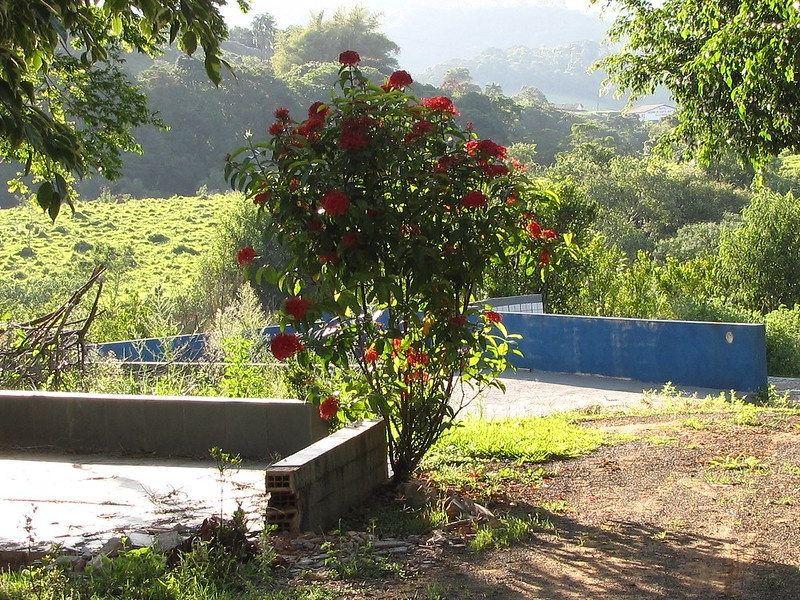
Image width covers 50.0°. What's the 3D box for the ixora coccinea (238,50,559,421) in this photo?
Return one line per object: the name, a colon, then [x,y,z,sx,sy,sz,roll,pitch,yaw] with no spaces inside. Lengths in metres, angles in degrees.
ixora coccinea: [-0.062,-0.507,6.975,2.282,3.019,1.021,0,9,9]
